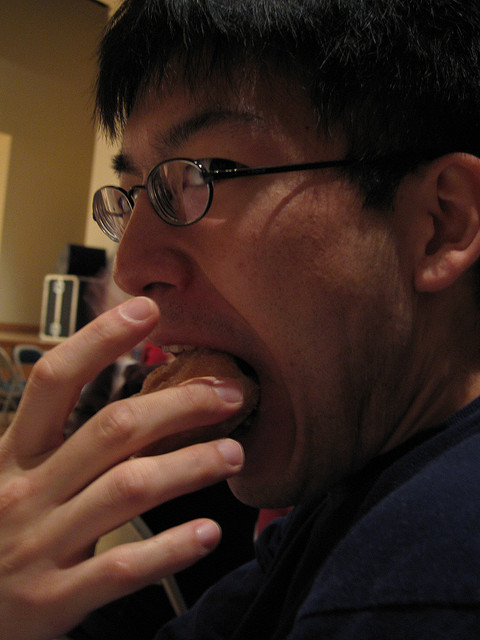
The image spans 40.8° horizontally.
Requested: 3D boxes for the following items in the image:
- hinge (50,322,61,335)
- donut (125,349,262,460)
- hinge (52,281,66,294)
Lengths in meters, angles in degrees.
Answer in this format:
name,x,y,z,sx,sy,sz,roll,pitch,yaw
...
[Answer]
name,x,y,z,sx,sy,sz,roll,pitch,yaw
hinge,-1.636,0.079,5.732,0.117,0.096,0.023,2,14,0
donut,-0.055,0.110,0.932,0.193,0.053,0.138,-29,9,-21
hinge,-1.558,-0.277,5.562,0.111,0.111,0.022,5,4,6
